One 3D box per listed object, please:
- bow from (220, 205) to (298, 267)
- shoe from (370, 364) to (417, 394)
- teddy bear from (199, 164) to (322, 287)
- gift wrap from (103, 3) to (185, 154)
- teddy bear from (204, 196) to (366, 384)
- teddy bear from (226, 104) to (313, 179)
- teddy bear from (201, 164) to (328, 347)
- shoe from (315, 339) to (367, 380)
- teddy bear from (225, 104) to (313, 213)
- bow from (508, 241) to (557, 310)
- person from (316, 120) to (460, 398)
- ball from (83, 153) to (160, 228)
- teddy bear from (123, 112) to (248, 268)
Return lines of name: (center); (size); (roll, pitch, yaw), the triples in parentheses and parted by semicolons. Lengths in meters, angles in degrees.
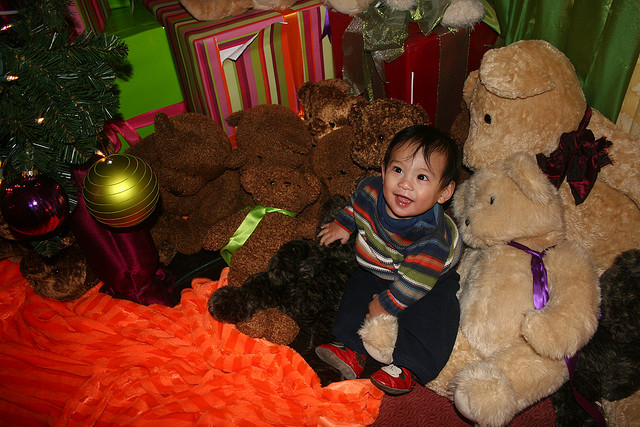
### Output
bow: (-0.248, 0.035, 2.185); (0.279, 0.217, 0.343); (-10, 33, -1)
shoe: (0.289, 0.621, 1.869); (0.123, 0.099, 0.226); (11, 0, 40)
teddy bear: (-0.241, 0.045, 2.026); (0.494, 0.519, 0.315); (6, -8, -2)
gift wrap: (-0.878, -0.639, 2.541); (0.356, 0.704, 0.365); (-26, 49, -31)
teddy bear: (-0.115, 0.326, 1.961); (0.466, 0.465, 0.369); (-42, 12, 9)
teddy bear: (-0.210, -0.316, 2.120); (0.305, 0.200, 0.311); (25, 22, 16)
teddy bear: (-0.210, 0.118, 2.019); (0.498, 0.654, 0.537); (17, 5, -10)
shoe: (0.087, 0.550, 1.917); (0.163, 0.123, 0.118); (17, 43, 27)
teddy bear: (-0.203, -0.279, 2.235); (0.349, 0.391, 0.371); (-3, 44, -3)
bow: (0.752, 0.217, 1.714); (0.166, 0.250, 0.063); (-5, -4, 17)
person: (0.272, 0.128, 1.878); (0.525, 0.906, 0.774); (1, 28, 0)
ball: (-0.705, -0.053, 1.723); (0.237, 0.254, 0.234); (-7, -3, 0)
teddy bear: (-0.524, -0.147, 2.309); (0.530, 0.738, 0.535); (28, 41, 20)
